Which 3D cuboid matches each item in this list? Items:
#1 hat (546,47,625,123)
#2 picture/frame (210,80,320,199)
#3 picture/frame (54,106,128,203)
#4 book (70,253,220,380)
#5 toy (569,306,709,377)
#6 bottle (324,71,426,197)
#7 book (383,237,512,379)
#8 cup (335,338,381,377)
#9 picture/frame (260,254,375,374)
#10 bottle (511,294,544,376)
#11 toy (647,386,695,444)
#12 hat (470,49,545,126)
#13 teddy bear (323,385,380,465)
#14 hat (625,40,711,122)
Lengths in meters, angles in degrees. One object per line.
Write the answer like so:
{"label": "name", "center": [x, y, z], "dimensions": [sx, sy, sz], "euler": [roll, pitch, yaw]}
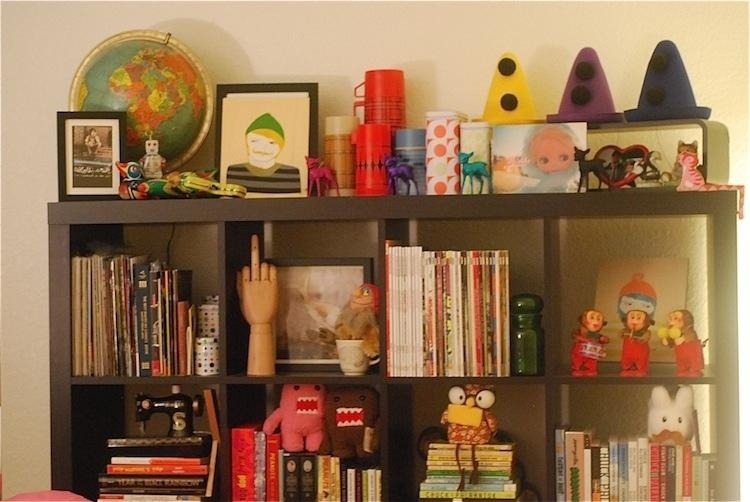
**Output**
{"label": "hat", "center": [0.711, -0.551, 3.135], "dimensions": [0.274, 0.258, 0.252], "euler": [2, 5, 13]}
{"label": "picture/frame", "center": [-0.373, -0.371, 3.199], "dimensions": [0.417, 0.546, 0.056], "euler": [-1, -6, 4]}
{"label": "picture/frame", "center": [-0.953, -0.318, 3.137], "dimensions": [0.337, 0.440, 0.035], "euler": [0, -2, -3]}
{"label": "book", "center": [-0.753, 0.235, 3.293], "dimensions": [0.610, 0.606, 0.368], "euler": [0, -3, -4]}
{"label": "toy", "center": [0.863, 0.305, 3.054], "dimensions": [0.417, 0.218, 0.212], "euler": [-2, -4, 16]}
{"label": "bottle", "center": [0.009, -0.392, 3.147], "dimensions": [0.326, 0.491, 0.449], "euler": [0, 2, -14]}
{"label": "book", "center": [0.235, 0.198, 3.021], "dimensions": [0.383, 0.415, 0.079], "euler": [-2, -3, 11]}
{"label": "cup", "center": [-0.065, 0.362, 3.119], "dimensions": [0.160, 0.123, 0.132], "euler": [-4, -6, 37]}
{"label": "picture/frame", "center": [-0.189, 0.227, 3.147], "dimensions": [0.394, 0.375, 0.037], "euler": [0, 0, 8]}
{"label": "bottle", "center": [0.500, 0.276, 3.040], "dimensions": [0.111, 0.264, 0.064], "euler": [-1, -3, 7]}
{"label": "toy", "center": [0.952, 0.534, 3.118], "dimensions": [0.139, 0.201, 0.192], "euler": [0, -10, 9]}
{"label": "hat", "center": [0.482, -0.547, 3.205], "dimensions": [0.239, 0.282, 0.260], "euler": [-1, -3, 1]}
{"label": "teddy bear", "center": [-0.081, 0.596, 3.120], "dimensions": [0.258, 0.299, 0.167], "euler": [0, -6, 9]}
{"label": "hat", "center": [0.961, -0.548, 3.113], "dimensions": [0.322, 0.278, 0.190], "euler": [-1, -2, 18]}
